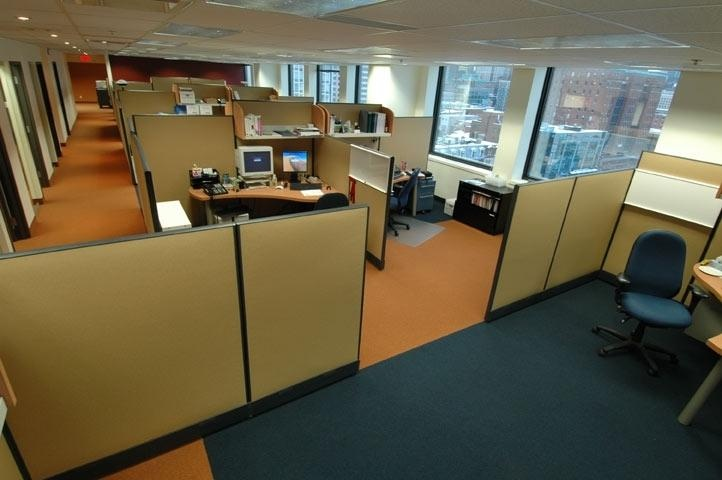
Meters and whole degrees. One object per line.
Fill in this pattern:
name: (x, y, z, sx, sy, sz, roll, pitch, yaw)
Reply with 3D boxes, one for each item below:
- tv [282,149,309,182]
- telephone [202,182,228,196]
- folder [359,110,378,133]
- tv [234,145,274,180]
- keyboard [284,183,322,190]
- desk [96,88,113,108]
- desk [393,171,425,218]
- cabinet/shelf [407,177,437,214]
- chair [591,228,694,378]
tv: (-1.005, -1.146, 7.442, 0.500, 0.548, 0.212, -4, 23, -16)
telephone: (-2.058, -0.718, 6.880, 0.312, 0.088, 0.361, -10, 25, -23)
folder: (0.134, -1.974, 8.117, 0.190, 0.308, 0.326, -2, 34, -20)
tv: (-1.552, -1.137, 7.154, 0.511, 0.500, 0.239, -7, 25, -16)
keyboard: (-0.833, -0.783, 7.186, 0.515, 0.070, 0.207, -4, 24, -9)
desk: (-9.808, -5.397, 18.537, 0.340, 0.698, 1.083, -16, 28, -31)
desk: (0.819, -0.809, 8.279, 0.517, 0.686, 0.483, -24, 45, -29)
cabinet/shelf: (1.069, -0.800, 8.657, 0.495, 0.654, 0.486, -10, 25, -23)
chair: (3.346, 0.718, 5.648, 0.940, 1.510, 0.831, -9, 26, -19)
